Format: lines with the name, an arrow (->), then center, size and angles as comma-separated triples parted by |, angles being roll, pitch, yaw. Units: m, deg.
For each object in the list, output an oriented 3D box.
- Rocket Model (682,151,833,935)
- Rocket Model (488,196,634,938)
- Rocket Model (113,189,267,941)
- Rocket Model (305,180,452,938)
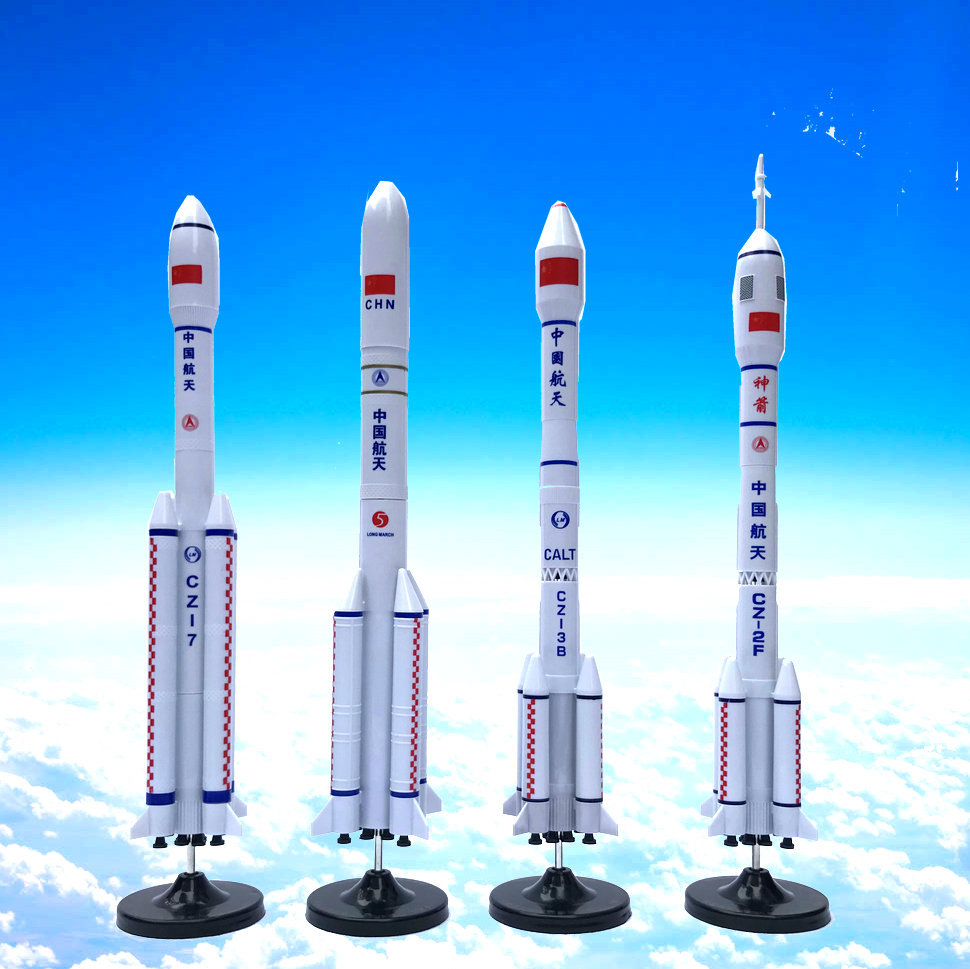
Rocket Model -> 3.511, 0.618, 20.741 | 1.353, 9.967, 0.871 | 0, -5, 8
Rocket Model -> 0.974, 0.913, 20.792 | 1.374, 9.295, 0.835 | 1, -5, 0
Rocket Model -> -3.648, 0.900, 20.358 | 1.336, 9.338, 1.054 | 2, -5, -10
Rocket Model -> -1.293, 0.792, 20.469 | 1.392, 9.483, 0.766 | 1, -5, -3
